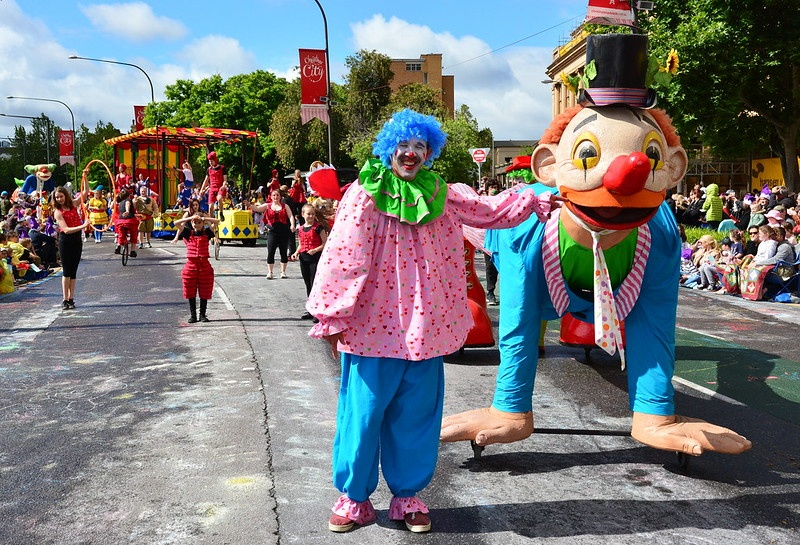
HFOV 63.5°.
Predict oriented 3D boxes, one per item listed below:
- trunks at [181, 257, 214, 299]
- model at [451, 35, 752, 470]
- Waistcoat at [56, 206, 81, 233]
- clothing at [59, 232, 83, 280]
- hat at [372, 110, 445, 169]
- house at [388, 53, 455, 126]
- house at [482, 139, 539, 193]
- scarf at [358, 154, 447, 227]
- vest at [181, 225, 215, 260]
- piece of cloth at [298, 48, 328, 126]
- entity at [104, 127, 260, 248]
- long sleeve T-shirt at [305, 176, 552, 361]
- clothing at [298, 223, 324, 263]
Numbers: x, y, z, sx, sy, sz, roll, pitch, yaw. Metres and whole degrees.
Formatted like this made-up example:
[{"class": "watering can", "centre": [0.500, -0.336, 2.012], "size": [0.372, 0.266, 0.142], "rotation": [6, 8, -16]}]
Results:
[{"class": "trunks", "centre": [-3.018, 0.060, 9.670], "size": [0.452, 0.624, 0.280], "rotation": [4, 21, -11]}, {"class": "model", "centre": [1.655, -0.243, 6.380], "size": [2.256, 3.283, 4.067], "rotation": [1, 5, 9]}, {"class": "Waistcoat", "centre": [-5.321, -0.845, 10.353], "size": [0.236, 0.436, 0.341], "rotation": [-21, -1, 32]}, {"class": "clothing", "centre": [-5.395, -0.274, 10.603], "size": [0.339, 0.829, 0.426], "rotation": [-7, 16, -26]}, {"class": "hat", "centre": [0.065, -0.870, 4.364], "size": [0.406, 0.283, 0.430], "rotation": [1, 5, -8]}, {"class": "house", "centre": [2.407, -20.764, 74.260], "size": [7.343, 6.923, 4.316], "rotation": [0, 0, 3]}, {"class": "house", "centre": [16.363, -16.961, 99.316], "size": [4.699, 6.519, 5.442], "rotation": [3, 12, 5]}, {"class": "scarf", "centre": [-0.002, -0.526, 4.318], "size": [0.507, 0.467, 0.151], "rotation": [25, -34, -9]}, {"class": "vest", "centre": [-3.032, -0.457, 9.694], "size": [0.438, 0.435, 0.511], "rotation": [-5, 15, -19]}, {"class": "piece of cloth", "centre": [-2.875, -6.220, 21.565], "size": [1.051, 2.333, 0.155], "rotation": [-7, 13, -28]}, {"class": "entity", "centre": [-10.071, -4.192, 29.913], "size": [3.774, 4.261, 6.235], "rotation": [9, 13, 39]}, {"class": "long sleeve T-shirt", "centre": [0.236, -0.054, 4.540], "size": [1.645, 1.192, 0.839], "rotation": [-3, 6, -4]}, {"class": "clothing", "centre": [-1.474, -0.545, 10.470], "size": [0.385, 0.505, 0.283], "rotation": [0, -4, 25]}]
